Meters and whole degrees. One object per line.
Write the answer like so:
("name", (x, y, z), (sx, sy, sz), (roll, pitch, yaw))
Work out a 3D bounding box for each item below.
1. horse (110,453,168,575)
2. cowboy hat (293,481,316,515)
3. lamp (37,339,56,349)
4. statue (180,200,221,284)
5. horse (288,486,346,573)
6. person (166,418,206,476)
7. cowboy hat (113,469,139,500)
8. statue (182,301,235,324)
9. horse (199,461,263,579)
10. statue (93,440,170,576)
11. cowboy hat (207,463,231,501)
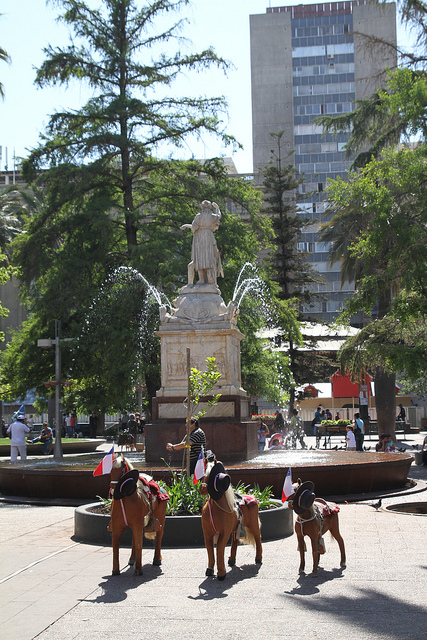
("horse", (-0.762, 1.940, 9.078), (0.463, 1.114, 1.456), (-3, -12, 13))
("cowboy hat", (0.866, 1.671, 8.656), (0.074, 0.275, 0.266), (14, 24, 29))
("lamp", (-4.517, 0.584, 24.296), (0.320, 0.216, 0.327), (2, -4, -19))
("statue", (-0.216, -1.673, 18.951), (0.618, 1.867, 1.045), (2, -3, -1))
("horse", (0.997, 2.039, 8.857), (0.273, 0.814, 0.935), (-1, -5, 35))
("person", (-0.354, 1.701, 11.555), (0.491, 0.836, 0.416), (14, -22, -33))
("cowboy hat", (-0.822, 1.577, 8.721), (0.331, 0.283, 0.174), (4, -4, -41))
("statue", (-0.017, -0.121, 17.494), (0.657, 0.294, 0.506), (-4, -3, 11))
("horse", (0.159, 1.920, 8.934), (0.464, 1.098, 0.948), (1, -3, 19))
("statue", (-0.775, 1.937, 9.123), (0.504, 1.087, 1.597), (-1, -11, 13))
("cowboy hat", (0.054, 1.530, 8.675), (0.115, 0.320, 0.273), (2, 7, 34))
